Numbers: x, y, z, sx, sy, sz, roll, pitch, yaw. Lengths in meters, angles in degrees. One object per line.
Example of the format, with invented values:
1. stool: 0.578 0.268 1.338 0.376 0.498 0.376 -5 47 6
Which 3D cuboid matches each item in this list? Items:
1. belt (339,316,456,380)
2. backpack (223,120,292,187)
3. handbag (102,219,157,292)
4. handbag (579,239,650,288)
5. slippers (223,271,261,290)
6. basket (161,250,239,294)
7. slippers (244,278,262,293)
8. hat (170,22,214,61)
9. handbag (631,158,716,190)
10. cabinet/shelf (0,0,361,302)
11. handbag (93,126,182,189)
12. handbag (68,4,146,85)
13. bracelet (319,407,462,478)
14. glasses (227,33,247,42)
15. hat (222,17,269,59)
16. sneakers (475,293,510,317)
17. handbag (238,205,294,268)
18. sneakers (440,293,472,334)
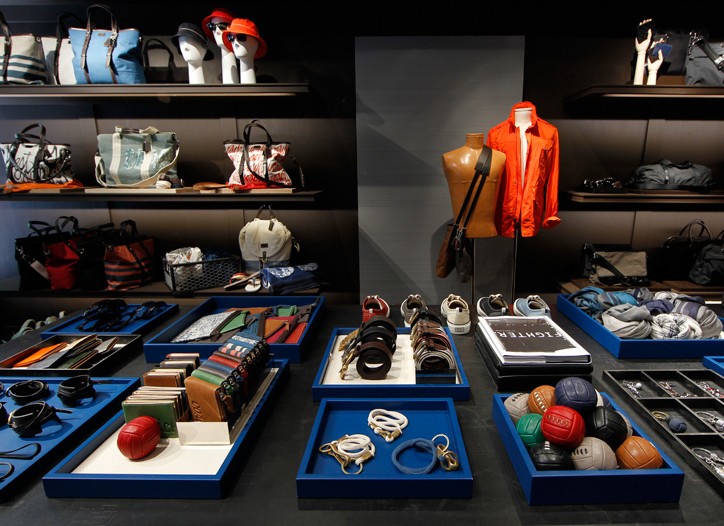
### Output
1. belt: 0.159 0.386 2.509 0.544 0.212 0.386 -3 17 -5
2. backpack: -0.768 -0.825 3.819 0.519 0.454 0.263 2 25 1
3. handbag: -1.790 -0.034 3.949 0.252 0.456 0.495 2 14 16
4. handbag: 1.957 0.010 3.943 0.460 0.282 0.218 1 17 8
5. slippers: -0.902 0.134 3.853 0.307 0.087 0.129 -24 15 -29
6. basket: -1.198 0.044 3.916 0.567 0.267 0.297 -8 18 -20
7. slippers: -0.792 0.169 3.776 0.071 0.038 0.149 0 24 0
8. hat: -1.221 -1.604 3.719 0.279 0.243 0.387 -6 18 -14
9. handbag: 2.296 -0.626 3.763 0.413 0.138 0.276 0 15 8
10. cabinet/shelf: -1.351 -0.907 3.854 2.335 2.070 0.727 0 6 0
11. handbag: -1.639 -0.760 3.710 0.581 0.418 0.176 1 17 6
12. handbag: -1.774 -1.472 3.560 0.462 0.432 0.184 -6 18 -14
13. bracelet: 0.105 0.709 2.062 0.348 0.070 0.236 -4 33 -11
14. glasses: -0.850 -1.530 3.485 0.134 0.055 0.039 3 18 14
15. hat: -0.800 -1.566 3.600 0.232 0.149 0.311 7 14 13
16. sneakers: 0.738 0.235 2.887 0.106 0.073 0.179 0 10 1
17. handbag: -0.738 -0.202 3.989 0.475 0.514 0.291 -2 11 -11
18. sneakers: 0.529 0.266 2.882 0.121 0.093 0.244 0 18 1
